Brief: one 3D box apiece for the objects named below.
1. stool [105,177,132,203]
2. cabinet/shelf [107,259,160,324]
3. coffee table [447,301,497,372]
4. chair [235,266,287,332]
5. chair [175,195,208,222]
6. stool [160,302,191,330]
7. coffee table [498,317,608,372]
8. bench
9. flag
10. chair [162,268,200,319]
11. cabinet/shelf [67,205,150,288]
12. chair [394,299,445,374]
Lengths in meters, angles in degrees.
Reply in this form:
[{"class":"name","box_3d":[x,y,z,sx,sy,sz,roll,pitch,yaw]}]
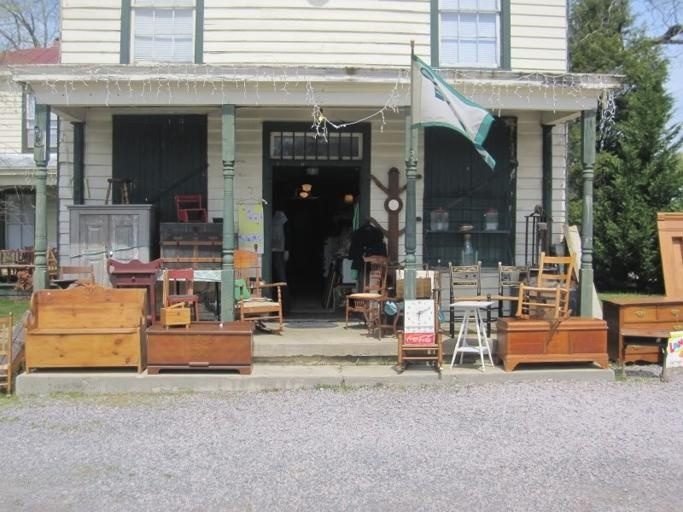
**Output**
[{"class":"stool","box_3d":[-3.707,-1.086,16.995,0.447,0.427,0.322,-1,0,-13]},{"class":"cabinet/shelf","box_3d":[-3.089,0.599,15.127,0.802,1.060,0.501,1,-27,-17]},{"class":"coffee table","box_3d":[1.923,1.104,15.104,0.825,1.350,0.882,-1,3,14]},{"class":"chair","box_3d":[-1.290,0.591,16.090,0.847,1.198,0.601,-2,-3,-2]},{"class":"chair","box_3d":[-2.529,-0.787,16.989,0.499,0.598,0.444,-1,-1,-26]},{"class":"stool","box_3d":[-2.360,0.840,14.458,0.345,0.372,0.361,1,-2,-34]},{"class":"coffee table","box_3d":[3.017,1.251,14.610,1.483,0.589,0.145,-1,0,-2]},{"class":"bench","box_3d":[-3.630,1.001,14.526,1.560,1.281,0.615,0,-6,-10]},{"class":"flag","box_3d":[1.543,-2.087,14.565,1.178,1.738,0.165,1,-21,2]},{"class":"chair","box_3d":[-2.378,0.598,15.132,0.532,0.797,0.550,-1,1,43]},{"class":"cabinet/shelf","box_3d":[-3.655,-0.153,16.035,1.116,1.674,0.600,0,-2,-3]},{"class":"chair","box_3d":[1.077,1.094,14.325,0.674,1.013,0.779,1,-7,-8]}]
